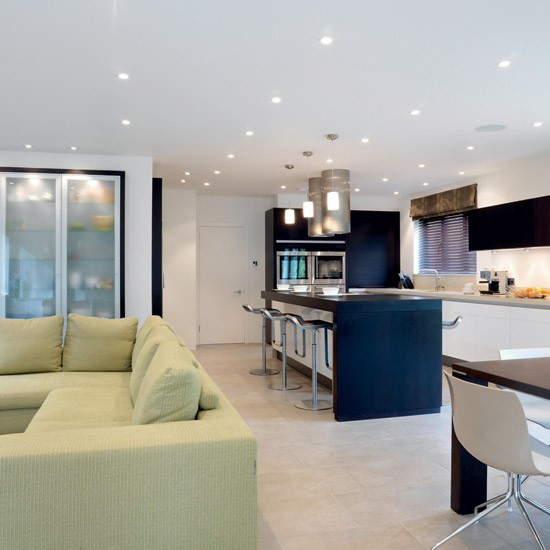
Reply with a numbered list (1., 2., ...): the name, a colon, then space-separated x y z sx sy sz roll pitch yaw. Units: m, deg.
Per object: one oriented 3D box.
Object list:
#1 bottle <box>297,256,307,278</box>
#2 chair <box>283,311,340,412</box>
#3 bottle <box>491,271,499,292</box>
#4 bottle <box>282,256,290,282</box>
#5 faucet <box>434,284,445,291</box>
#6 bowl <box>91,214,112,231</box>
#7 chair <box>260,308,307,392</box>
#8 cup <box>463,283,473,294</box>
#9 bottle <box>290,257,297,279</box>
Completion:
1. bottle: 0.456 -0.123 7.961 0.179 0.380 0.054 0 2 -19
2. chair: 0.337 0.842 4.921 0.509 0.868 1.282 0 1 1
3. bottle: 2.774 0.090 5.990 0.083 0.270 0.135 0 2 -15
4. bottle: 0.172 -0.117 7.863 0.130 0.401 0.063 0 2 -6
5. faucet: 2.562 0.206 7.407 0.086 0.120 0.163 0 -1 -7
6. bowl: -1.995 -0.610 5.530 0.181 0.141 0.184 2 9 0
7. chair: 0.072 0.872 5.823 0.682 1.425 0.731 -1 -1 -3
8. cup: 2.705 0.193 6.658 0.142 0.150 0.076 -1 4 -32
9. bottle: 0.311 -0.122 7.904 0.135 0.376 0.056 0 2 -15
